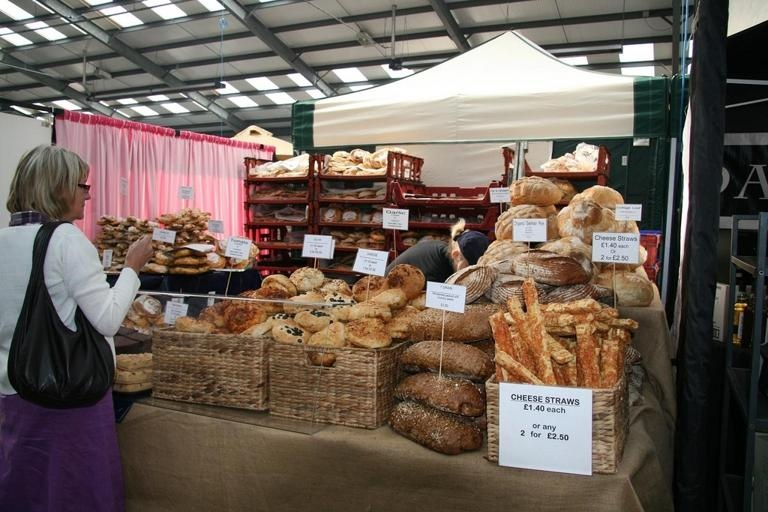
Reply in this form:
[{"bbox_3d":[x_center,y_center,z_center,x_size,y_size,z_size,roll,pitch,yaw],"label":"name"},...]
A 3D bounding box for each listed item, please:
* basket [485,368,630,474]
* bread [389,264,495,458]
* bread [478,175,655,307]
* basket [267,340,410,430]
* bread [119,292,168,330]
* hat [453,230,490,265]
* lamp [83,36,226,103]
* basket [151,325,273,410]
[{"bbox_3d":[0.833,0.660,2.224,0.512,0.239,0.451,0,0,17],"label":"basket"},{"bbox_3d":[0.303,0.511,2.350,0.586,0.214,0.719,4,50,28],"label":"bread"},{"bbox_3d":[1.035,-0.123,2.792,0.991,0.339,0.926,23,43,28],"label":"bread"},{"bbox_3d":[-0.273,0.596,2.360,0.528,0.243,0.461,-1,-4,16],"label":"basket"},{"bbox_3d":[-1.365,0.322,2.872,0.301,0.179,0.091,11,21,24],"label":"bread"},{"bbox_3d":[0.603,-0.063,3.360,0.214,0.167,0.250,-25,13,-7],"label":"hat"},{"bbox_3d":[-5.180,-4.228,11.106,0.813,0.491,2.548,2,2,16],"label":"lamp"},{"bbox_3d":[-0.839,0.545,2.573,0.781,0.323,0.402,0,-4,17],"label":"basket"}]
